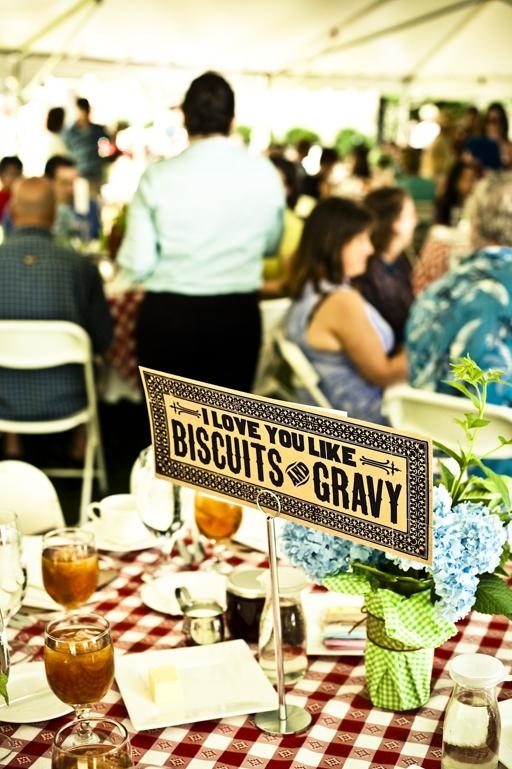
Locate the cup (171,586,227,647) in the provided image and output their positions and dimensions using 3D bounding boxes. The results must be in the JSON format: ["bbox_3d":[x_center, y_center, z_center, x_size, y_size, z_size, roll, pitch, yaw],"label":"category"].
[{"bbox_3d":[-0.081,0.310,0.887,0.054,0.064,0.081,0,-3,-15],"label":"cup"}]

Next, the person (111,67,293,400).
[{"bbox_3d":[-0.194,-0.437,2.177,0.405,0.929,0.537,4,6,24],"label":"person"}]

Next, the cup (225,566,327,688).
[{"bbox_3d":[0.005,0.286,0.843,0.100,0.144,0.146,-3,18,-5],"label":"cup"}]

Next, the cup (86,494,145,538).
[{"bbox_3d":[-0.269,0.253,1.250,0.099,0.068,0.074,-8,21,0],"label":"cup"}]
